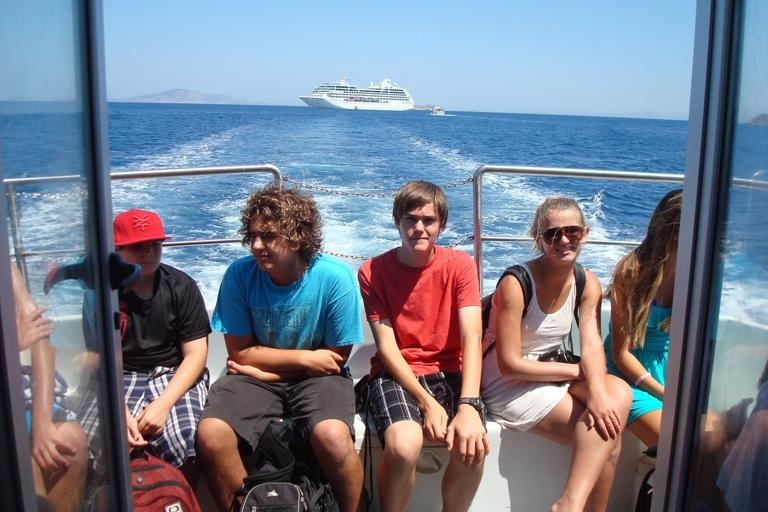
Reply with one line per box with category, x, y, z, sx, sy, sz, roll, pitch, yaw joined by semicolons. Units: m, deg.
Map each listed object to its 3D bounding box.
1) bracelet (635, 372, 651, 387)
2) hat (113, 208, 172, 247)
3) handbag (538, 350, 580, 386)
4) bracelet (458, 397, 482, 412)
bracelet;1.235;0.580;2.756;0.056;0.016;0.058;-41;1;-3
hat;-1.227;-0.143;2.947;0.256;0.177;0.323;-7;4;-26
handbag;0.826;0.546;2.809;0.274;0.142;0.209;-1;-9;-4
bracelet;0.404;0.682;2.656;0.089;0.048;0.070;10;-3;-32
